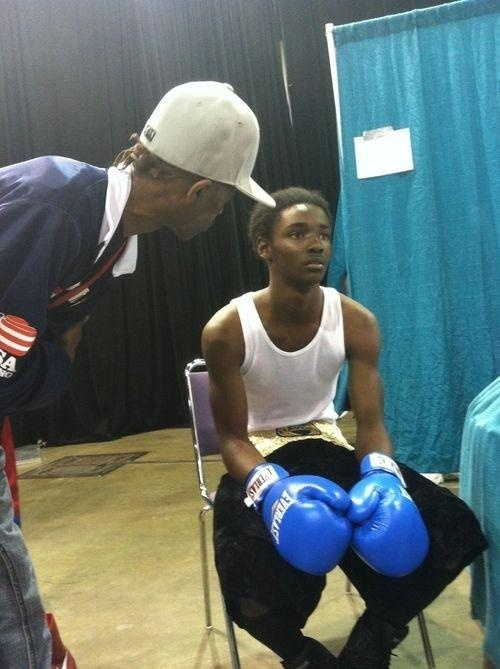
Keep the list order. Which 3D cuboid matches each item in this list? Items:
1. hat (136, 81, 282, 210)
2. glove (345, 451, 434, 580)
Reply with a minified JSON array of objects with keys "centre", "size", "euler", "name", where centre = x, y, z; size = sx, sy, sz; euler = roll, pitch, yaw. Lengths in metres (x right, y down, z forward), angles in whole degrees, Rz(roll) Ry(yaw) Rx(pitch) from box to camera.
[{"centre":[-0.049,-0.350,1.055],"size":[0.255,0.141,0.169],"euler":[21,13,-28],"name":"hat"},{"centre":[0.269,0.355,1.100],"size":[0.134,0.095,0.198],"euler":[-13,27,-3],"name":"glove"}]
